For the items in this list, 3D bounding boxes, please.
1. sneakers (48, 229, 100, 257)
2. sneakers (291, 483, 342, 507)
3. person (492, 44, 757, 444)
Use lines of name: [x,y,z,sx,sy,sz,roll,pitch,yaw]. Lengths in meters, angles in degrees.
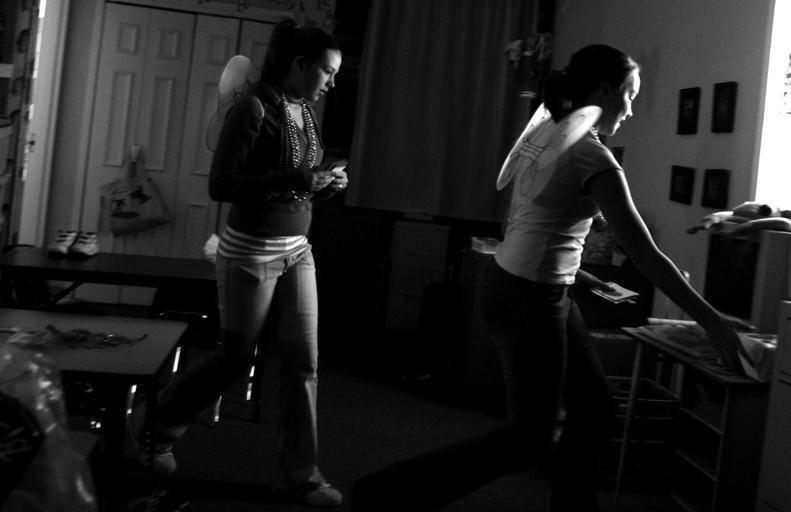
sneakers: [-1.901,-0.073,3.647,0.183,0.075,0.243,2,7,-7]
sneakers: [-0.346,1.070,2.750,0.174,0.039,0.123,0,13,10]
person: [0.791,-0.267,2.158,0.757,0.950,0.293,10,12,17]
